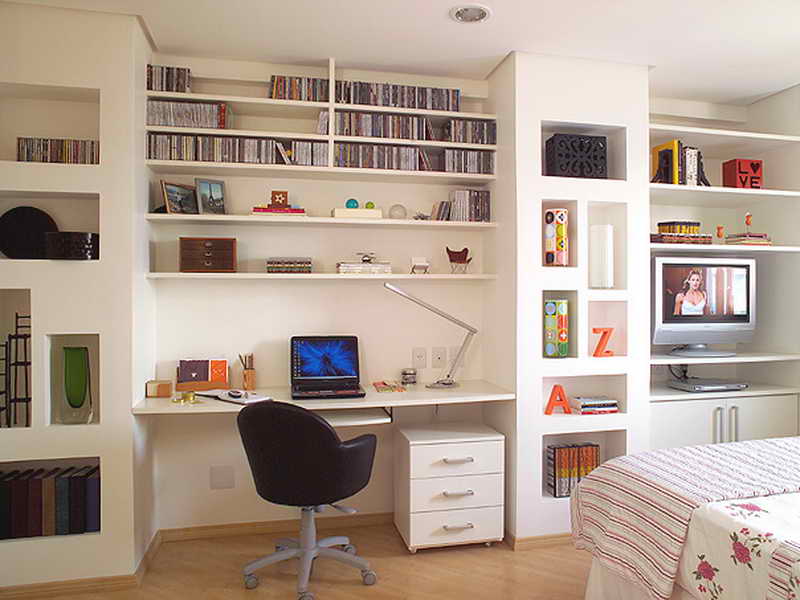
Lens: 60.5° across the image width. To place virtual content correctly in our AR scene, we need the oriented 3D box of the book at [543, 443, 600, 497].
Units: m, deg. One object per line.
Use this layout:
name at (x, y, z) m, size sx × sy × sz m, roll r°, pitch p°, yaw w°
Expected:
book at (1.080, 1.065, 4.276) m, size 0.397 × 0.351 × 0.205 m, roll 0°, pitch -2°, yaw -18°

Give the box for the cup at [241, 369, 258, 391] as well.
cup at (-0.985, 0.504, 4.424) m, size 0.118 × 0.196 × 0.137 m, roll 0°, pitch 1°, yaw -15°

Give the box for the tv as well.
tv at (2.117, 0.030, 4.769) m, size 0.705 × 0.583 × 0.209 m, roll 2°, pitch -5°, yaw -15°

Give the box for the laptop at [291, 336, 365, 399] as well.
laptop at (-0.494, 0.433, 4.469) m, size 0.485 × 0.373 × 0.373 m, roll 0°, pitch -1°, yaw -11°

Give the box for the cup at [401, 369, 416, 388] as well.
cup at (0.052, 0.530, 4.614) m, size 0.102 × 0.105 × 0.100 m, roll 1°, pitch 5°, yaw 0°
